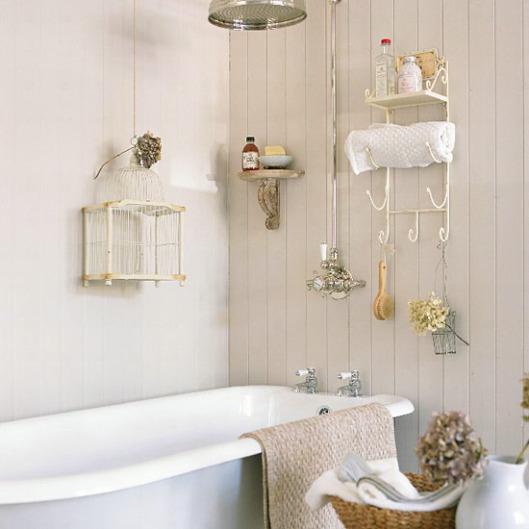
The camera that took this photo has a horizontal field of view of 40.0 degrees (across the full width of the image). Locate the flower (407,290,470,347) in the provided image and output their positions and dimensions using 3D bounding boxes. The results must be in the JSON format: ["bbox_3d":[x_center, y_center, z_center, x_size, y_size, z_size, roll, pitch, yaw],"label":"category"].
[{"bbox_3d":[0.673,0.235,2.982,0.236,0.266,0.190,6,-12,-39],"label":"flower"}]

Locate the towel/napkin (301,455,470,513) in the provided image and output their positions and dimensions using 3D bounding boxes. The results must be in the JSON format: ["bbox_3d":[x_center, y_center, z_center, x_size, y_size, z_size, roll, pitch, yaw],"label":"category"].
[{"bbox_3d":[0.296,0.535,1.745,0.223,0.110,0.188,0,-2,-14],"label":"towel/napkin"}]

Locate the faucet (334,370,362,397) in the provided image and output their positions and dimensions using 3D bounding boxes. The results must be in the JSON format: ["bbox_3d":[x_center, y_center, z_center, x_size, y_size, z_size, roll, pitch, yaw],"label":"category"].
[{"bbox_3d":[0.369,0.520,3.206,0.132,0.145,0.083,-1,-4,44],"label":"faucet"}]

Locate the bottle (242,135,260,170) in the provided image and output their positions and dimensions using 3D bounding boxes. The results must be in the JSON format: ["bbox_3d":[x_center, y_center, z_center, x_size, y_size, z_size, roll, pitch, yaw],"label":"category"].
[{"bbox_3d":[-0.069,-0.538,3.532,0.080,0.135,0.173,-3,2,-1],"label":"bottle"}]

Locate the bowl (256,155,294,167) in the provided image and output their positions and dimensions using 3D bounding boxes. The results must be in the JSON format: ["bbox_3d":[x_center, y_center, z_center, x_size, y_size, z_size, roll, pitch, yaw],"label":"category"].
[{"bbox_3d":[0.050,-0.492,3.509,0.172,0.046,0.166,-3,2,0],"label":"bowl"}]
